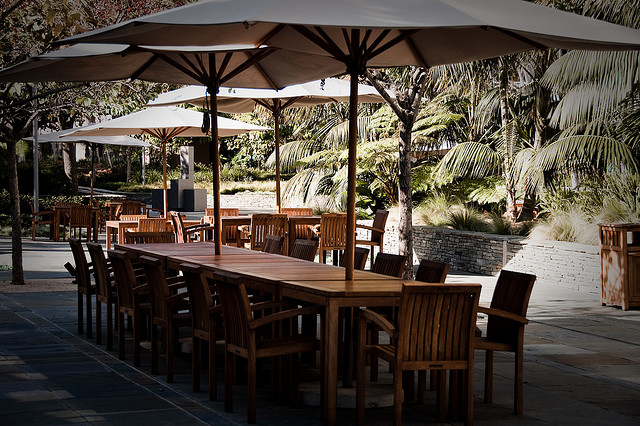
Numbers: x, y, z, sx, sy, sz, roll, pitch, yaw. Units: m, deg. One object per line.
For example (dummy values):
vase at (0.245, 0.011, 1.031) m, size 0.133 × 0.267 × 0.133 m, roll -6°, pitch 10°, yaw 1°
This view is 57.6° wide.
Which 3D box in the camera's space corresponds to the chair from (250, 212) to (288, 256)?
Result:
chair at (-1.039, 0.441, 12.000) m, size 0.845 × 1.320 × 0.964 m, roll 0°, pitch 4°, yaw -14°

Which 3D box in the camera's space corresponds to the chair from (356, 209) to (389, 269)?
chair at (0.975, 0.641, 13.183) m, size 0.972 × 1.364 × 0.886 m, roll 1°, pitch 0°, yaw -18°

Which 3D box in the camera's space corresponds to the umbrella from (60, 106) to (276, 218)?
umbrella at (-3.918, -1.926, 15.357) m, size 3.761 × 2.156 × 3.727 m, roll -1°, pitch 7°, yaw -4°

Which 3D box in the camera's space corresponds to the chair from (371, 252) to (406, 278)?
chair at (0.852, 0.603, 6.743) m, size 0.283 × 0.403 × 0.227 m, roll 11°, pitch -2°, yaw -40°

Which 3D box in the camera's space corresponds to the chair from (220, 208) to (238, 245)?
chair at (-2.086, 0.337, 13.244) m, size 0.567 × 0.800 × 0.840 m, roll -1°, pitch 3°, yaw -6°

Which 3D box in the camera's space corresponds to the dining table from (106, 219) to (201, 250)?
dining table at (-5.417, 0.513, 16.494) m, size 1.977 × 0.906 × 1.191 m, roll -1°, pitch 0°, yaw -33°
